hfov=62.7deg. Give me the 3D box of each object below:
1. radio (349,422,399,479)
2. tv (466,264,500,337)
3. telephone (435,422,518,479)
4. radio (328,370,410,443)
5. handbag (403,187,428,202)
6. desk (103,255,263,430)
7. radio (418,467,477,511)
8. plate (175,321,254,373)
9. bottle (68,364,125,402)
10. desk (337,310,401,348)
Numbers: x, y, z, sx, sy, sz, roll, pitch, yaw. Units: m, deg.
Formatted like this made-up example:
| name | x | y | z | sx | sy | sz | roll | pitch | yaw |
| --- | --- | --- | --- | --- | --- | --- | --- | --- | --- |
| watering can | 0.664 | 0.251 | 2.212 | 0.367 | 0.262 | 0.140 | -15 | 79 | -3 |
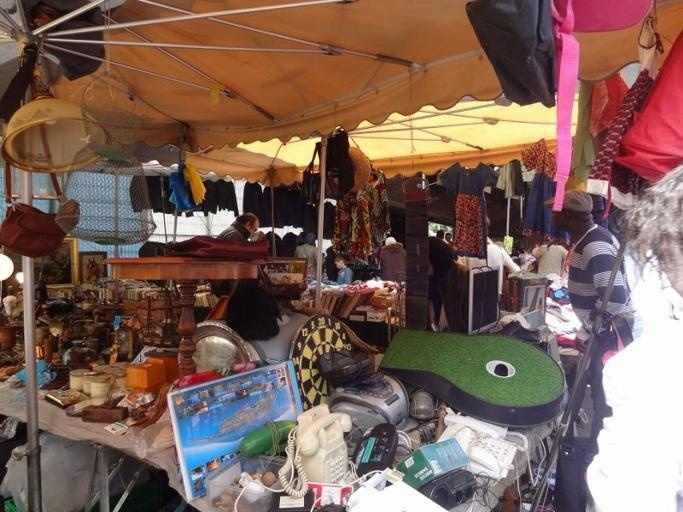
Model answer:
| name | x | y | z | sx | sy | sz | roll | pitch | yaw |
| --- | --- | --- | --- | --- | --- | --- | --- | --- | --- |
| radio | 0.175 | 0.947 | 2.823 | 0.213 | 0.189 | 0.244 | 8 | 8 | 26 |
| tv | 0.981 | 0.302 | 3.900 | 0.125 | 0.456 | 0.599 | -2 | 2 | 24 |
| telephone | 0.683 | 0.934 | 2.831 | 0.421 | 0.210 | 0.334 | 6 | 7 | 23 |
| radio | 0.150 | 0.877 | 3.235 | 0.451 | 0.354 | 0.358 | 8 | 22 | 30 |
| handbag | 0.512 | -0.409 | 3.845 | 0.164 | 0.101 | 0.084 | -3 | 2 | 8 |
| desk | -0.895 | 0.321 | 3.262 | 0.587 | 1.144 | 1.105 | 1 | 2 | 16 |
| radio | 0.518 | 1.071 | 2.585 | 0.358 | 0.162 | 0.075 | -4 | 2 | -33 |
| plate | -0.710 | 0.543 | 3.330 | 0.431 | 0.288 | 0.333 | 7 | 8 | 33 |
| bottle | -1.510 | 0.760 | 3.555 | 0.277 | 0.210 | 0.300 | 3 | 8 | 0 |
| desk | 0.249 | 0.686 | 5.362 | 0.565 | 0.318 | 0.191 | -1 | 2 | 44 |
